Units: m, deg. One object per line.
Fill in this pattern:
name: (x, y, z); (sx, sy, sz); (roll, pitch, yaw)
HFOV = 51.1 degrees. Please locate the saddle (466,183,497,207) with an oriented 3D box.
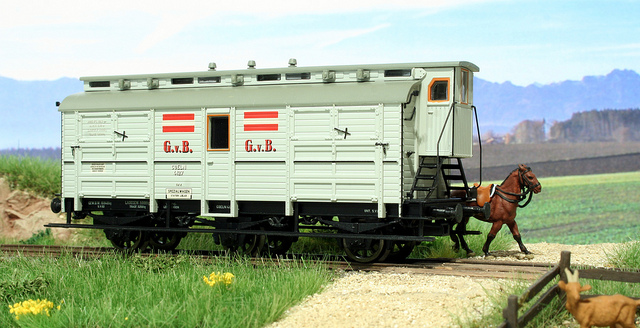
saddle: (7.150, 1.368, 29.646); (0.992, 1.009, 1.094); (-1, 0, 23)
